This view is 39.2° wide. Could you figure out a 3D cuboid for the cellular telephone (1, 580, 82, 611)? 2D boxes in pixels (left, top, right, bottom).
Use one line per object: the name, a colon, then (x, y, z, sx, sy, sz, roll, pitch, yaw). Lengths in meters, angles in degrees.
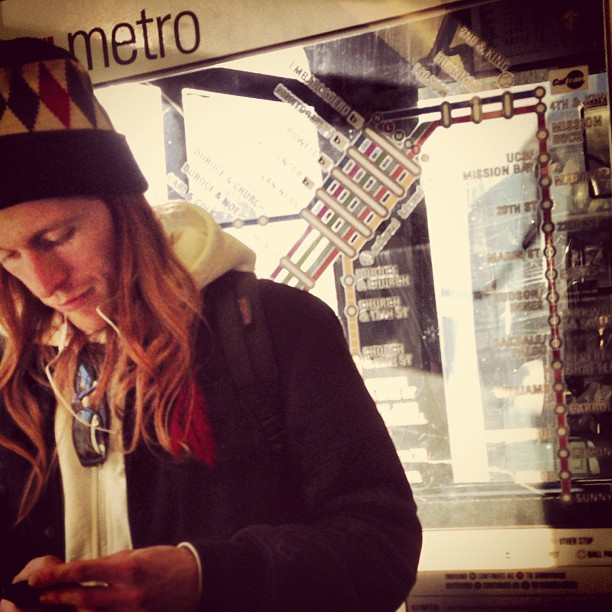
cellular telephone: (-0.763, 0.782, 2.358, 0.299, 0.066, 0.039, 4, 0, 22)
